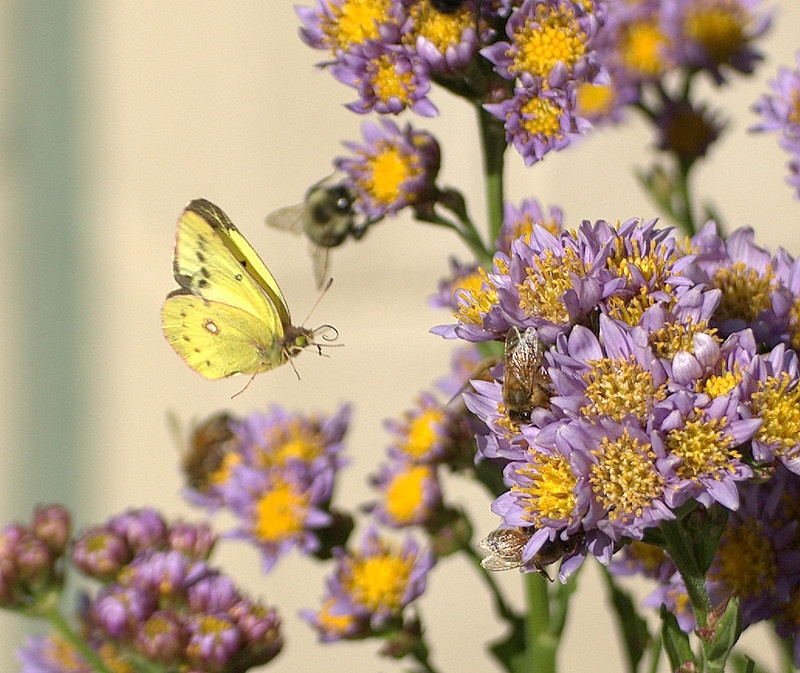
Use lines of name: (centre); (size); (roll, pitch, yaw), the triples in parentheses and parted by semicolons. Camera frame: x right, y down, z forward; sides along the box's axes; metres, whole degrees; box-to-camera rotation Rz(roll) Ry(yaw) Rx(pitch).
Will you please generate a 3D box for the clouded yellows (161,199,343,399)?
clouded yellows: (-0.349, -0.099, 2.899); (0.381, 0.453, 0.385); (-4, 15, -25)
